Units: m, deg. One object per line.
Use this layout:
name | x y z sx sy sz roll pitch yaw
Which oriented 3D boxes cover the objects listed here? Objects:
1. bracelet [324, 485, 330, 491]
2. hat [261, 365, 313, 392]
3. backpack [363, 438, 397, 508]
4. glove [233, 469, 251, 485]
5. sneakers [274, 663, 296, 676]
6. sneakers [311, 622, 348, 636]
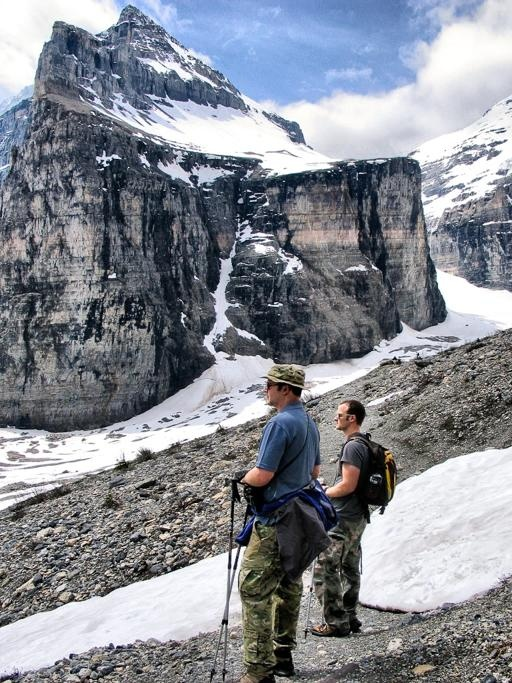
bracelet | 0.799 1.653 7.292 0.080 0.041 0.078 -5 9 13
hat | 0.336 0.347 6.569 0.320 0.118 0.292 21 -5 -4
backpack | 1.355 1.476 7.193 0.368 0.699 0.284 -7 -3 15
glove | -0.146 1.346 6.455 0.158 0.083 0.104 -46 17 12
sneakers | 0.297 3.276 6.513 0.187 0.173 0.110 -6 -32 30
sneakers | 0.830 3.212 7.290 0.402 0.157 0.158 -1 -13 24
